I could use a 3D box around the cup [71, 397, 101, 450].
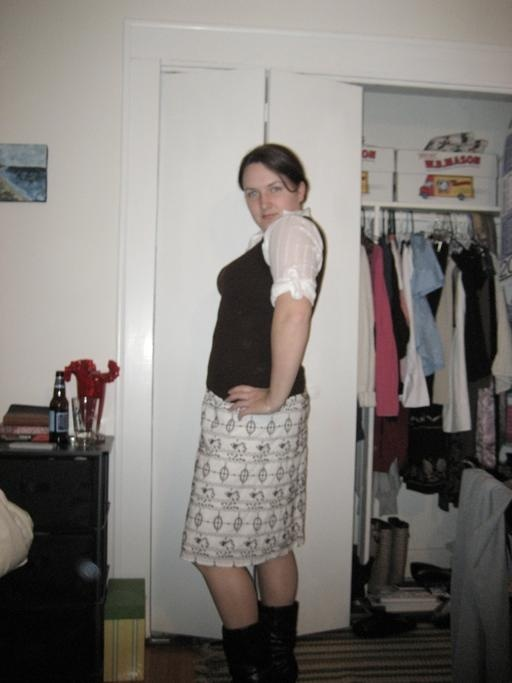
[{"bbox_3d":[-0.565,0.268,2.159,0.092,0.167,0.097,-2,-4,0],"label":"cup"}]

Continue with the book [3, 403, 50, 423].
[{"bbox_3d":[-0.797,0.253,2.247,0.145,0.061,0.205,1,0,-22],"label":"book"}]
